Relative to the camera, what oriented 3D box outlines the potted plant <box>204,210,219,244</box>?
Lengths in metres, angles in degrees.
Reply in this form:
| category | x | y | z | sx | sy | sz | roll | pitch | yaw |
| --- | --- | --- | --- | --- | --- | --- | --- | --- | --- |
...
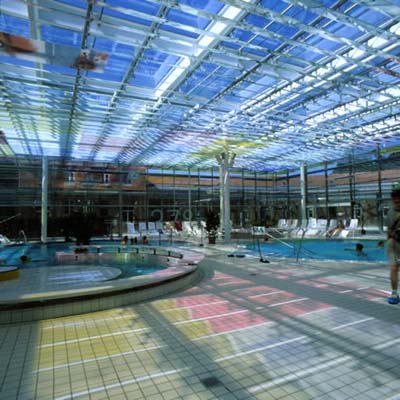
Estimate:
| category | x | y | z | sx | sy | sz | roll | pitch | yaw |
| --- | --- | --- | --- | --- | --- | --- | --- | --- | --- |
| potted plant | 0.675 | 1.488 | 18.074 | 0.766 | 1.866 | 0.776 | -2 | -3 | 0 |

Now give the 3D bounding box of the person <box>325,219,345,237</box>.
| category | x | y | z | sx | sy | sz | roll | pitch | yaw |
| --- | --- | --- | --- | --- | --- | --- | --- | --- | --- |
| person | 8.224 | 1.718 | 20.184 | 1.093 | 1.049 | 1.773 | -2 | -3 | 13 |

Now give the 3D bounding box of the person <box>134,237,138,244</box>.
| category | x | y | z | sx | sy | sz | roll | pitch | yaw |
| --- | --- | --- | --- | --- | --- | --- | --- | --- | --- |
| person | -3.360 | 2.119 | 17.184 | 0.219 | 0.310 | 1.010 | -1 | -2 | -11 |
